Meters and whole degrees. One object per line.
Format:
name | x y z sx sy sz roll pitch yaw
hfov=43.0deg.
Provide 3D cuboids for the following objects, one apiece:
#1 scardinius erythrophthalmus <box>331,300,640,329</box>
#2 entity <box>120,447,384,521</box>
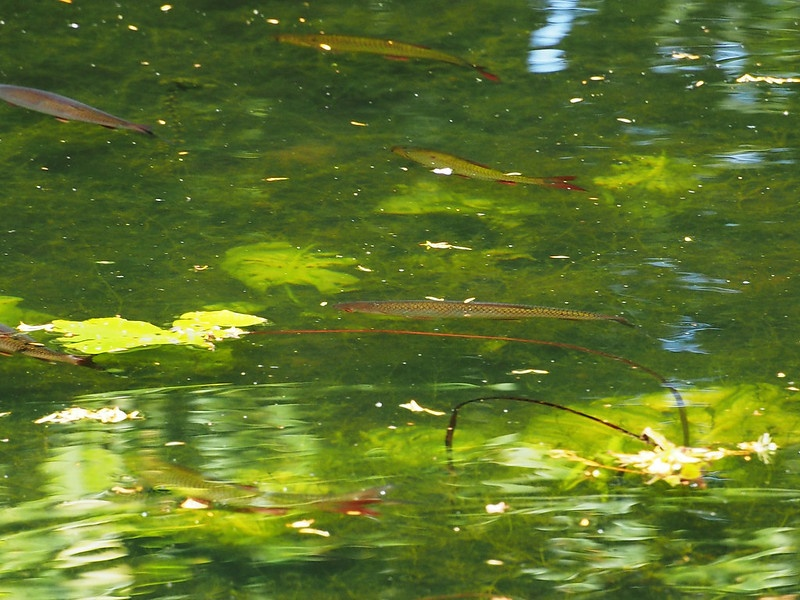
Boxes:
scardinius erythrophthalmus | 0.369 0.064 4.382 1.270 0.164 0.149 -2 22 3
entity | -0.564 0.683 3.680 0.939 0.165 0.230 1 20 15
